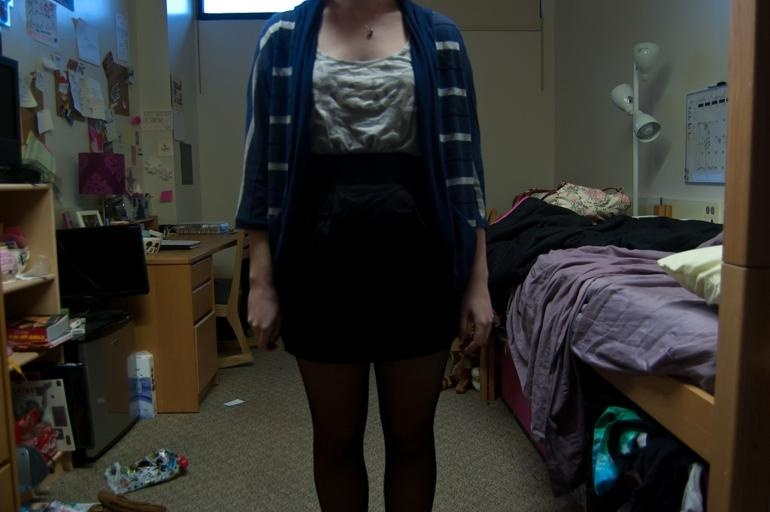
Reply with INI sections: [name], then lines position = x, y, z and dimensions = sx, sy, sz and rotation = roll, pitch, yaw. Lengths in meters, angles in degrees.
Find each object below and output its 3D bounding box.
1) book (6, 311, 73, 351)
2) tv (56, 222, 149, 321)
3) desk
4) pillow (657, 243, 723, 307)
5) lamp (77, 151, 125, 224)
[book]
position = -1.531, 0.345, 2.538
dimensions = 0.152, 0.052, 0.158
rotation = 0, 14, 2
[tv]
position = -1.504, 0.090, 2.994
dimensions = 0.457, 0.492, 0.158
rotation = -4, -1, -9
[desk]
position = -1.227, 0.372, 3.646
dimensions = 0.664, 1.034, 1.037
rotation = -2, 10, -1
[pillow]
position = 1.071, 0.052, 1.943
dimensions = 0.216, 0.069, 0.225
rotation = -24, 17, 2
[lamp]
position = -1.736, -0.469, 3.545
dimensions = 0.255, 0.279, 0.268
rotation = -1, 2, -9
